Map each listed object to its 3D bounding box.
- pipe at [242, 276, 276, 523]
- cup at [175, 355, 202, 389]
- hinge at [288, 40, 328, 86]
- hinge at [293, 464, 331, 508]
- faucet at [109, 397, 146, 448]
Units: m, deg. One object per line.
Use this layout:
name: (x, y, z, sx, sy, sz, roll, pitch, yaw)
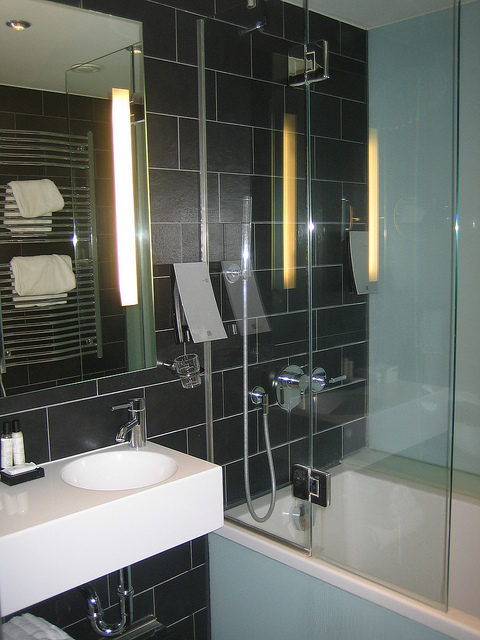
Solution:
pipe: (0.059, 0.306, 1.986, 0.076, 0.949, 0.177, -1, 1, -35)
cup: (-0.196, 0.187, 1.918, 0.084, 0.118, 0.046, 0, 1, -11)
hinge: (0.214, -0.817, 1.657, 0.031, 0.142, 0.179, -1, 1, -33)
hinge: (0.248, 0.574, 1.815, 0.158, 0.128, 0.030, 1, 2, 43)
faucet: (-0.383, 0.363, 1.823, 0.057, 0.170, 0.156, 1, 1, 30)
